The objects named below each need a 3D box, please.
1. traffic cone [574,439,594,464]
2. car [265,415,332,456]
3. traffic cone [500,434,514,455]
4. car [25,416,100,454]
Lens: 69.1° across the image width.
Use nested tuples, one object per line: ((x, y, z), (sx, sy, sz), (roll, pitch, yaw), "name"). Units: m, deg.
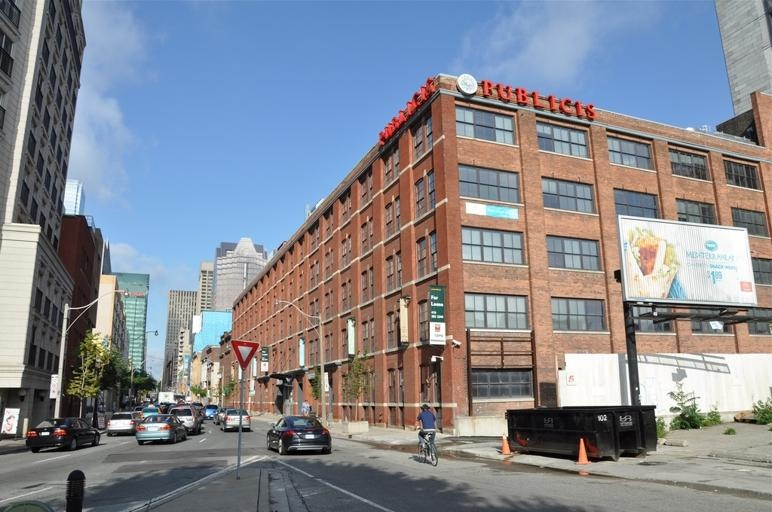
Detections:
((8.995, 8.864, 25.612), (0.744, 1.128, 0.570), (4, -20, -13), "traffic cone")
((-4.697, 9.456, 29.763), (2.193, 1.930, 3.339), (17, -26, -41), "car")
((6.165, 9.622, 28.699), (0.502, 0.986, 0.831), (-4, -19, 10), "traffic cone")
((-19.622, 10.875, 34.464), (1.777, 1.881, 3.529), (-5, -19, 12), "car")
